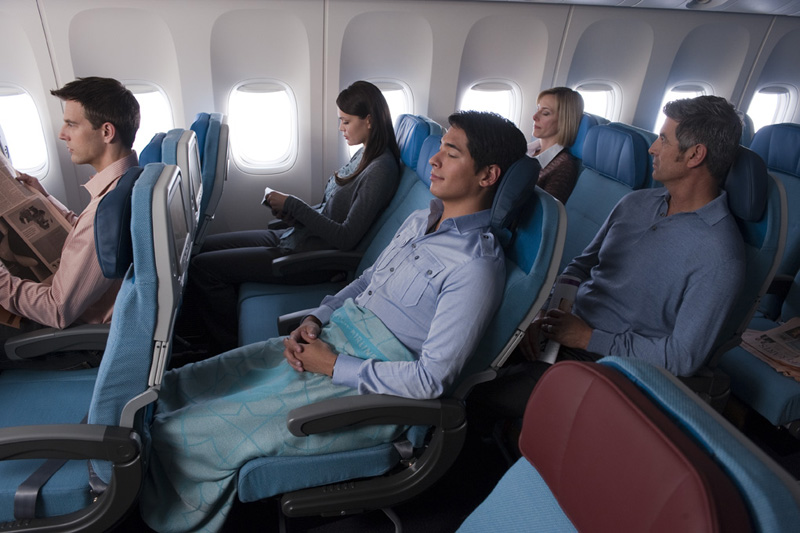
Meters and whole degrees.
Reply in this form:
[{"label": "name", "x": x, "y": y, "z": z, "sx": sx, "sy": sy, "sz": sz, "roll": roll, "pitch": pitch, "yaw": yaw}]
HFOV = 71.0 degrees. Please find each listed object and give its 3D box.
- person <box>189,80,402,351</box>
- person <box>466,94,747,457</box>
[{"label": "person", "x": -0.655, "y": -0.221, "z": 3.230, "sx": 1.163, "sy": 1.626, "sz": 0.733, "roll": 3, "pitch": 19, "yaw": -13}, {"label": "person", "x": 0.798, "y": 0.089, "z": 2.465, "sx": 1.147, "sy": 1.566, "sz": 0.935, "roll": -5, "pitch": 25, "yaw": -5}]
